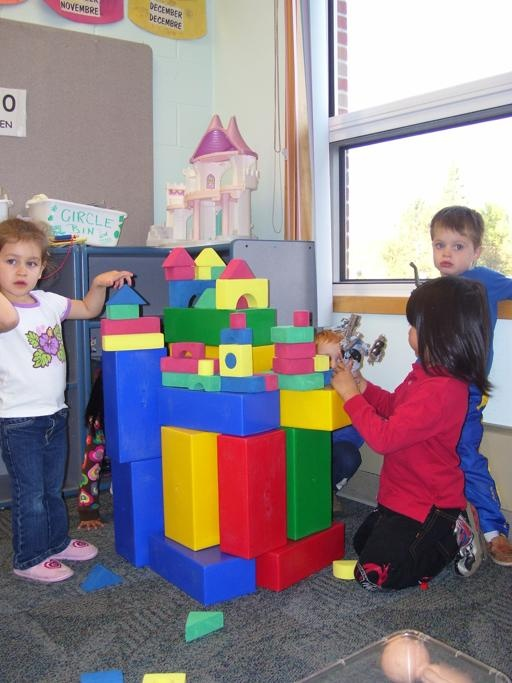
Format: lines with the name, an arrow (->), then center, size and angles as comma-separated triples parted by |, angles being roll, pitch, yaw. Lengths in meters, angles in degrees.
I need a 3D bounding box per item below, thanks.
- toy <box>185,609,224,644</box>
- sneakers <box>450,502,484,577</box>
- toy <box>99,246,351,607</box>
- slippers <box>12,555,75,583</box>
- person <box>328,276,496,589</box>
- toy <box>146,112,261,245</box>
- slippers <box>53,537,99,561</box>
toy -> -0.095, 0.521, 1.053 | 0.037, 0.017, 0.052 | -13, -7, 10
sneakers -> 0.489, 0.457, 1.341 | 0.057, 0.077, 0.189 | -7, 32, 34
toy -> -0.140, 0.104, 1.610 | 0.738, 0.875, 0.688 | 8, 13, 43
slippers -> -0.482, 0.516, 1.320 | 0.117, 0.045, 0.052 | 0, 0, 6
person -> 0.353, 0.197, 1.309 | 0.321, 0.675, 0.277 | 0, 2, 21
toy -> -0.184, -0.581, 2.134 | 0.406, 0.458, 0.533 | -6, 10, -30
slippers -> -0.441, 0.516, 1.430 | 0.106, 0.039, 0.040 | -1, 2, -3
